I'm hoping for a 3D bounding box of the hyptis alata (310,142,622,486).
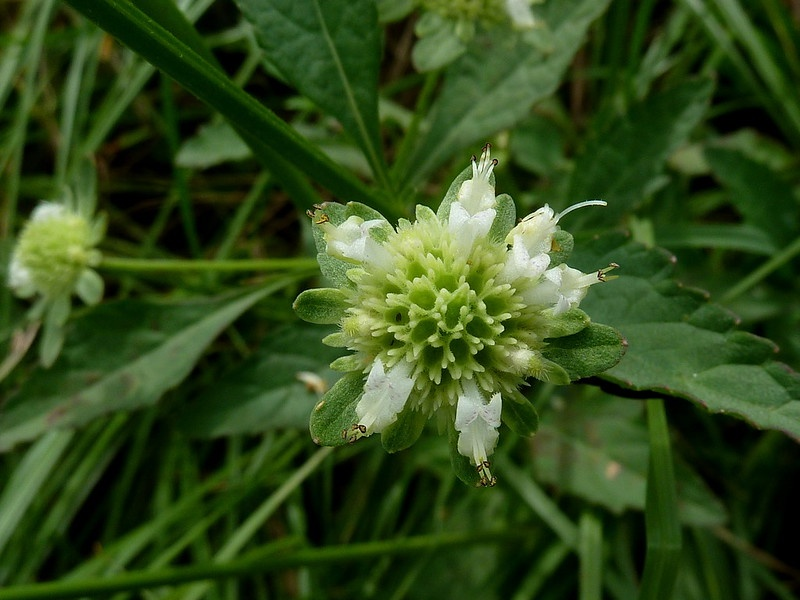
[{"bbox_3d":[0.117,0.014,1.865,0.688,0.407,0.762,-38,63,-12],"label":"hyptis alata"}]

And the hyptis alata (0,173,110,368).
[{"bbox_3d":[-0.980,-0.097,2.066,0.493,0.191,0.491,7,79,44],"label":"hyptis alata"}]
